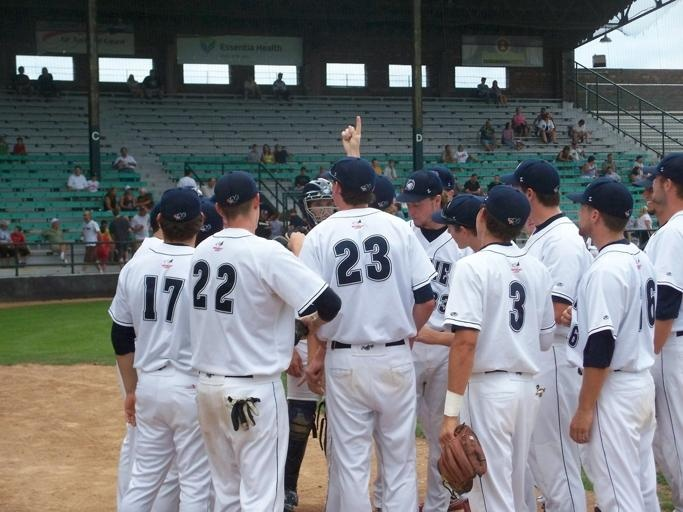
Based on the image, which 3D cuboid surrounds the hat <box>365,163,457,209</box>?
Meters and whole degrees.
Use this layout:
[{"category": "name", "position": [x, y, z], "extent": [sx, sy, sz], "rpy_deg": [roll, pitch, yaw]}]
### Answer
[{"category": "hat", "position": [1.375, -1.334, 22.552], "extent": [1.272, 0.541, 0.802], "rpy_deg": [-23, 21, -29]}]

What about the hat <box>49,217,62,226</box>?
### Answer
[{"category": "hat", "position": [-8.620, -1.084, 35.920], "extent": [0.374, 0.213, 0.259], "rpy_deg": [-18, -5, 27]}]

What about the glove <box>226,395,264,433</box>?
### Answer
[{"category": "glove", "position": [-1.691, 2.749, 20.900], "extent": [0.565, 0.632, 0.182], "rpy_deg": [0, -7, -4]}]

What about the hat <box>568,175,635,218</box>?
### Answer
[{"category": "hat", "position": [4.743, -1.037, 21.295], "extent": [0.876, 0.712, 0.215], "rpy_deg": [0, 7, 12]}]
